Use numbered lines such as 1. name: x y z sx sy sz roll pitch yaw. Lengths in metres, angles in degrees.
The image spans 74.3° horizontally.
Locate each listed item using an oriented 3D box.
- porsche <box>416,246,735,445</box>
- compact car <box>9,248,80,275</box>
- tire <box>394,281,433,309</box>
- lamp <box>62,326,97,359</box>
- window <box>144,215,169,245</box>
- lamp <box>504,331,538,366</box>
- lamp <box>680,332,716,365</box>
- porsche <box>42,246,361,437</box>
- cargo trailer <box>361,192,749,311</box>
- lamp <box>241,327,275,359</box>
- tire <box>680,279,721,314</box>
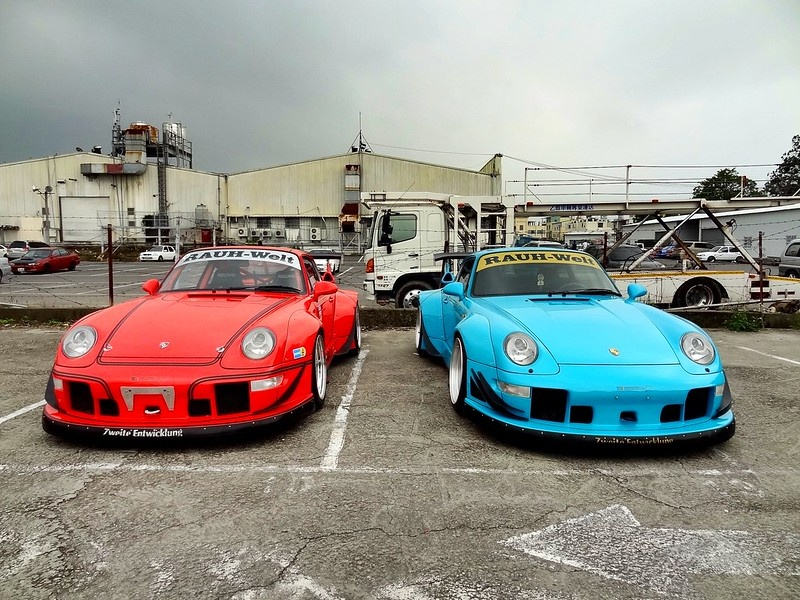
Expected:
1. porsche: 1.377 0.187 4.709 1.470 0.954 2.628 0 1 -2
2. compact car: -17.780 -2.106 27.031 1.178 0.872 2.629 0 1 11
3. tire: 0.254 -0.129 9.650 0.505 0.531 0.186 4 1 1
4. lamp: -2.480 0.313 4.080 0.220 0.231 0.060 2 -30 2
5. window: -21.928 -6.483 47.470 2.248 2.581 8.154 -5 13 -25
6. lamp: 0.926 0.364 4.011 0.262 0.185 0.222 6 13 27
7. lamp: 2.284 0.357 4.038 0.219 0.222 0.060 -26 -26 -12
8. porsche: -1.561 0.224 4.626 1.479 0.900 2.643 0 2 7
9. cargo trailer: 3.152 -1.058 11.826 7.843 2.908 2.865 1 1 -3
10. lamp: -1.095 0.324 4.079 0.222 0.183 0.271 10 14 39
11. tire: 5.989 -0.116 10.440 0.634 0.668 0.232 -1 2 3
